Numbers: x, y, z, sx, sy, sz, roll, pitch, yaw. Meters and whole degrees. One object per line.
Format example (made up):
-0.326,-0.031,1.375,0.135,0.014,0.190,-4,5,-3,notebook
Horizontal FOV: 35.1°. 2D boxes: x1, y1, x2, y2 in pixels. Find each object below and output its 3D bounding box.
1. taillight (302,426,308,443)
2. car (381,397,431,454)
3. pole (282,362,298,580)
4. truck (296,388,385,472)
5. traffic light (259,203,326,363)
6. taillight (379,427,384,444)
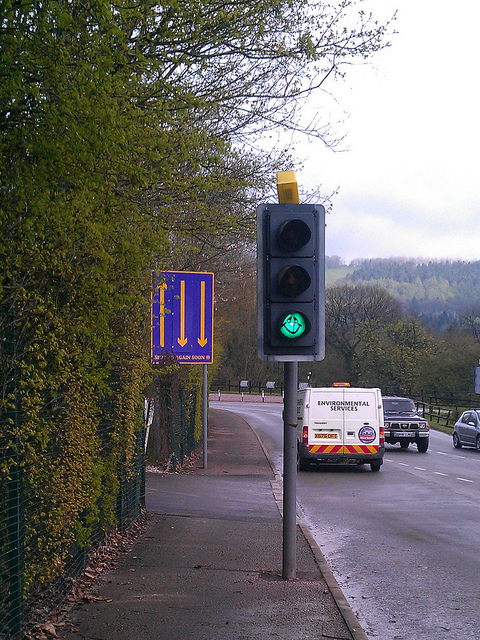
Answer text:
1.539,2.702,17.878,0.109,0.389,0.189,3,-3,-3,taillight
5.350,3.469,25.363,1.148,1.536,2.604,0,-9,-2,car
0.434,1.300,6.691,0.153,1.857,0.409,3,-3,-1,pole
2.486,2.657,19.260,1.455,1.840,2.928,0,-6,1,truck
0.447,-0.301,6.588,0.519,0.572,1.705,1,-53,5,traffic light
3.315,2.724,17.838,0.068,0.379,0.097,5,-3,-34,taillight
